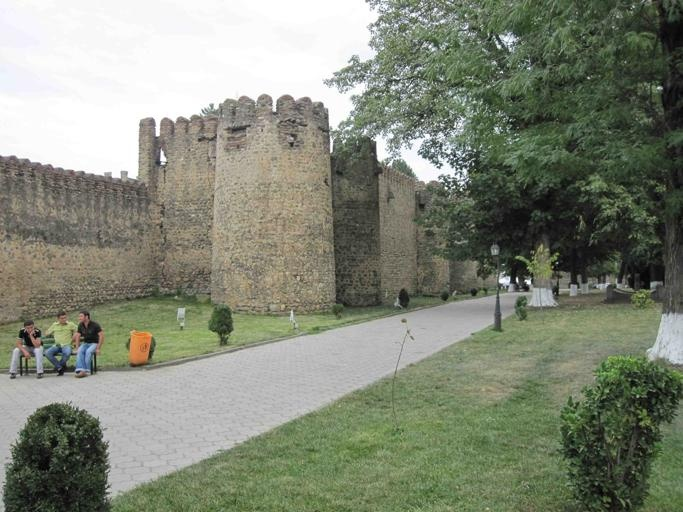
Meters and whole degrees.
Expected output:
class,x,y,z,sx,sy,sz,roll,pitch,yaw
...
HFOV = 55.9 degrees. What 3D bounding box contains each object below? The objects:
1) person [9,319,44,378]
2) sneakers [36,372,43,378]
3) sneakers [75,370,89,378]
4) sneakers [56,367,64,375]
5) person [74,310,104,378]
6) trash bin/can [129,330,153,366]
class,x,y,z,sx,sy,sz,roll,pitch,yaw
person,-7.671,2.278,15.794,0.754,1.342,1.185,-1,-2,-27
sneakers,-7.169,2.882,15.448,0.135,0.134,0.071,2,-2,-11
sneakers,-6.233,2.841,15.494,0.342,0.141,0.127,7,0,-6
sneakers,-6.814,2.834,15.763,0.105,0.215,0.199,-7,13,-42
person,-6.163,2.154,15.804,0.617,1.551,0.743,-1,-2,-23
trash bin/can,-5.114,2.370,16.524,0.563,0.857,0.455,-1,-2,-24
